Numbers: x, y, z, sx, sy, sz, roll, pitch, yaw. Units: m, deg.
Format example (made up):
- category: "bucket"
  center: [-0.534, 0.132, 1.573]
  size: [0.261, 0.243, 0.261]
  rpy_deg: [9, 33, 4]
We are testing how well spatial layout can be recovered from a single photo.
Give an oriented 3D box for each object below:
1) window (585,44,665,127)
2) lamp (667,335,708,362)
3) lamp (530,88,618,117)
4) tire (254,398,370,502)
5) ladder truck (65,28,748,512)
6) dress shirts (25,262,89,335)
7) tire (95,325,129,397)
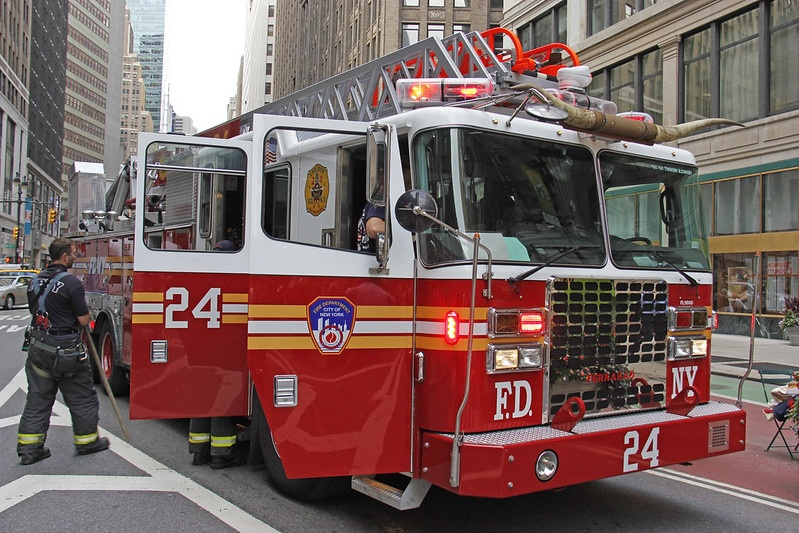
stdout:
- category: "window"
  center: [9.452, -6.826, 26.904]
  size: [0.347, 3.314, 4.534]
  rpy_deg: [-22, 20, -6]
- category: "lamp"
  center: [3.107, 0.876, 7.194]
  size: [0.303, 0.159, 0.299]
  rpy_deg: [0, 1, -26]
- category: "lamp"
  center: [1.753, -1.733, 7.110]
  size: [1.000, 0.381, 0.614]
  rpy_deg: [0, 13, -10]
- category: "tire"
  center: [-0.820, 1.800, 6.572]
  size: [0.385, 1.174, 1.087]
  rpy_deg: [-1, 6, -41]
- category: "ladder truck"
  center: [-0.939, 0.016, 8.595]
  size: [4.301, 3.586, 7.375]
  rpy_deg: [1, -2, -38]
- category: "dress shirts"
  center: [-4.412, 0.388, 8.574]
  size: [0.802, 0.830, 0.457]
  rpy_deg: [6, 11, 8]
- category: "tire"
  center: [-4.489, 1.449, 10.477]
  size: [0.358, 1.180, 1.098]
  rpy_deg: [1, 7, -37]
